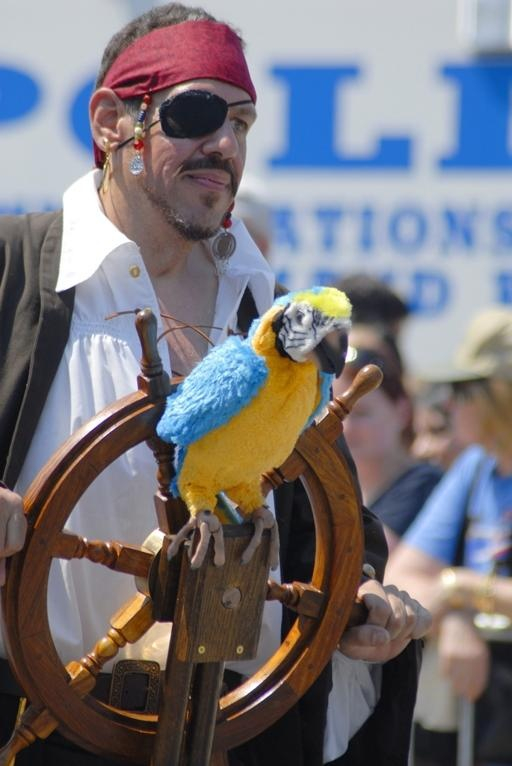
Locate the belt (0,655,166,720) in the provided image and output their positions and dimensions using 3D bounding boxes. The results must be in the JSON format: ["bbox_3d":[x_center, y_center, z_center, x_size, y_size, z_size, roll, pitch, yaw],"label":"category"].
[{"bbox_3d":[-0.264,0.448,2.413,0.249,0.073,0.091,0,13,16],"label":"belt"}]
